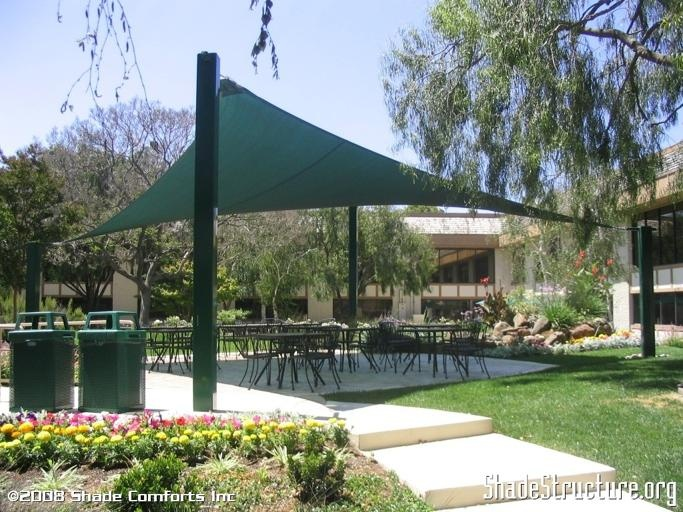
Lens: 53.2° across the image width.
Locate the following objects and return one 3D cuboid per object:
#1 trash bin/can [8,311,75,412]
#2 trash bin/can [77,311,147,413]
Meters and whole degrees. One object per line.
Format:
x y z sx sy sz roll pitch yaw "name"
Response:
-3.703 1.407 8.416 0.731 1.001 0.467 1 -7 -25 "trash bin/can"
-2.848 1.304 8.487 0.826 1.264 0.535 2 -8 -30 "trash bin/can"
